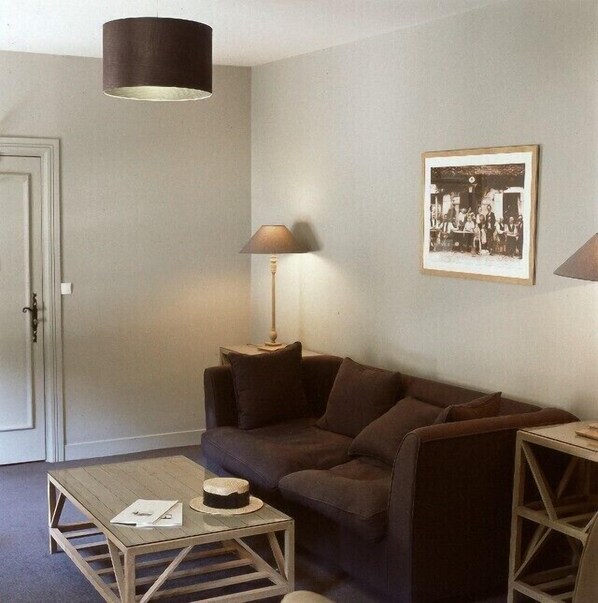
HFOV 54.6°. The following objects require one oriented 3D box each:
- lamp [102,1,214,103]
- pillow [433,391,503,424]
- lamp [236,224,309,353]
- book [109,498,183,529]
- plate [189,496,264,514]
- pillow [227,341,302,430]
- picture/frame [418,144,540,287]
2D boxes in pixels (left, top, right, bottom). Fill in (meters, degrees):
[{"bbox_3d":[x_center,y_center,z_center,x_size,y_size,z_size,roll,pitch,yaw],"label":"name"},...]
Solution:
[{"bbox_3d":[-0.544,-0.983,2.245,0.392,0.417,0.442,-1,2,-19],"label":"lamp"},{"bbox_3d":[0.753,0.470,2.553,0.139,0.095,0.437,1,3,45],"label":"pillow"},{"bbox_3d":[-0.201,-0.138,4.488,0.486,0.969,0.592,-2,2,-26],"label":"lamp"},{"bbox_3d":[-0.541,0.805,2.227,0.283,0.021,0.293,-1,2,6],"label":"book"},{"bbox_3d":[-0.290,0.808,2.301,0.300,0.027,0.211,-1,2,7],"label":"plate"},{"bbox_3d":[-0.206,0.546,3.654,0.421,0.451,0.154,-1,-16,-28],"label":"pillow"},{"bbox_3d":[0.971,-0.468,3.071,0.029,0.675,0.740,-1,4,-31],"label":"picture/frame"}]
